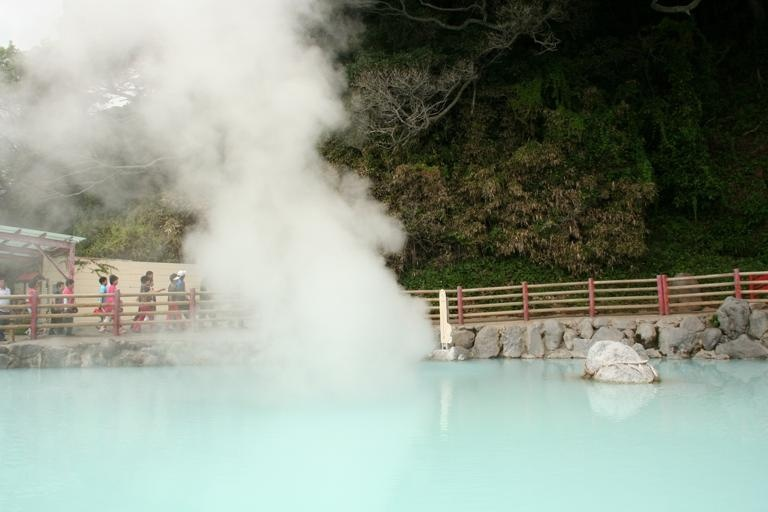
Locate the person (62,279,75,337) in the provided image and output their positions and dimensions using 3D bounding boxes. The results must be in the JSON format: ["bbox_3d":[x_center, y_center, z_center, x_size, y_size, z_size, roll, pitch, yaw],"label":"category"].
[{"bbox_3d":[-7.054,1.125,14.317,0.274,1.081,1.872,-5,10,-26],"label":"person"}]
